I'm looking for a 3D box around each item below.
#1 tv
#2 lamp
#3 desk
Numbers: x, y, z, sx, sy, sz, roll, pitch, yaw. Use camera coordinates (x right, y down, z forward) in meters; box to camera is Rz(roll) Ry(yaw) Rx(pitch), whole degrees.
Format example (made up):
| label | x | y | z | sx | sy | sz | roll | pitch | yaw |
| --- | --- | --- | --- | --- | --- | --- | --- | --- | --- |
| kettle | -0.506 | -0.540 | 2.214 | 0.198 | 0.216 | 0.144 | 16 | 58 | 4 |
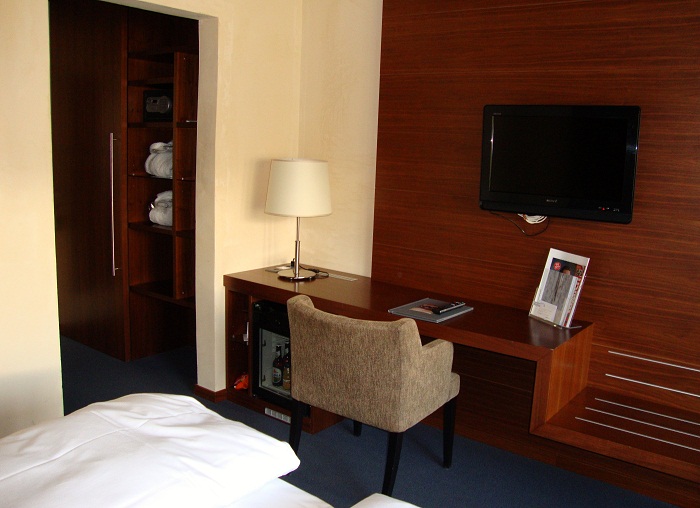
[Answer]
| label | x | y | z | sx | sy | sz | roll | pitch | yaw |
| --- | --- | --- | --- | --- | --- | --- | --- | --- | --- |
| tv | 1.156 | -0.496 | 2.715 | 0.713 | 0.491 | 0.093 | 4 | 8 | 33 |
| lamp | -0.345 | -0.267 | 3.517 | 0.507 | 0.829 | 0.496 | 13 | 24 | 19 |
| desk | 0.222 | 0.561 | 3.093 | 1.861 | 0.615 | 0.502 | 11 | 16 | 17 |
